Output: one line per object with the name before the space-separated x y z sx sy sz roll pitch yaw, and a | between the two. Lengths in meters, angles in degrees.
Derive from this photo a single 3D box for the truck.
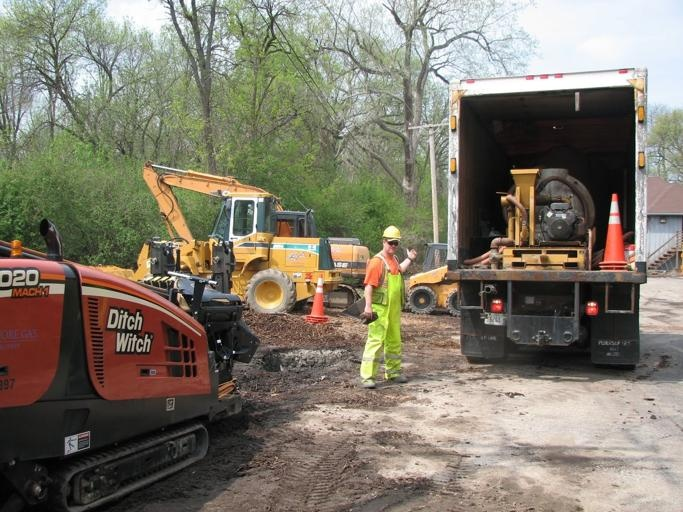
truck | 4.298 -0.363 10.972 3.202 4.190 6.504 0 -2 22

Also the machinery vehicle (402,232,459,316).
machinery vehicle | 2.938 0.579 16.427 2.425 1.871 1.698 1 11 -3

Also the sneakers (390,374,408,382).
sneakers | 0.810 1.743 7.811 0.261 0.111 0.100 -4 -1 21

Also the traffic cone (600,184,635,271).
traffic cone | 4.017 -0.373 8.089 0.364 1.109 0.597 -2 1 27
